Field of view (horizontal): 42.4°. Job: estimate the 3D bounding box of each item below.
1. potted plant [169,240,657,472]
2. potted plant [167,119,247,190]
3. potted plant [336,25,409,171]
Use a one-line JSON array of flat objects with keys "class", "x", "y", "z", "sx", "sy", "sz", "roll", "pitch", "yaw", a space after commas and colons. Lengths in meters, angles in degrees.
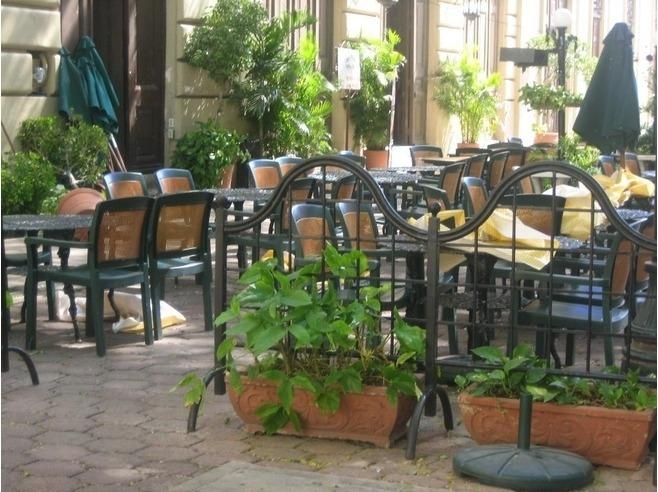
[{"class": "potted plant", "x": 0.431, "y": 0.513, "z": 4.946, "sx": 2.471, "sy": 1.128, "sz": 1.112, "roll": 2, "pitch": 11, "yaw": 9}, {"class": "potted plant", "x": -1.938, "y": -1.472, "z": 13.490, "sx": 0.952, "sy": 1.255, "sz": 1.244, "roll": 5, "pitch": 3, "yaw": 1}, {"class": "potted plant", "x": 0.926, "y": -3.108, "z": 17.649, "sx": 1.933, "sy": 3.754, "sz": 2.234, "roll": 1, "pitch": 4, "yaw": 0}]
